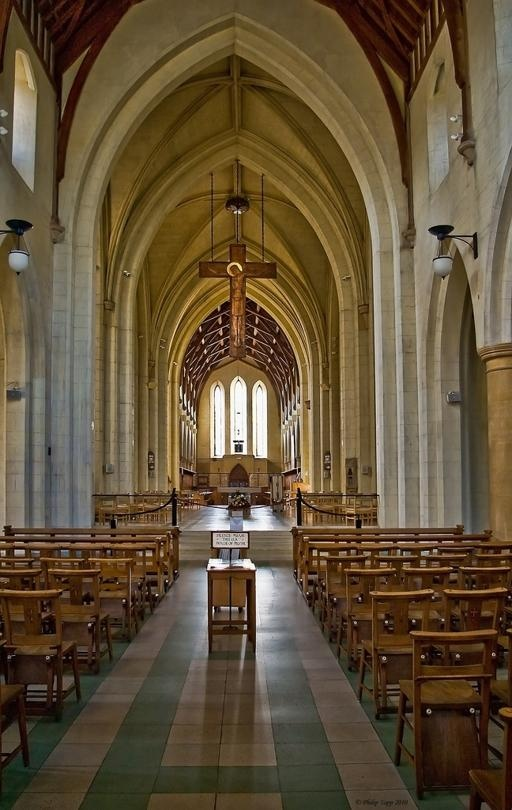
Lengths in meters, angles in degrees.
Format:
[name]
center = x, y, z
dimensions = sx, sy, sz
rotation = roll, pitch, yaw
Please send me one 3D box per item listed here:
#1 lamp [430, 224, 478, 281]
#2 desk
[lamp]
center = 2.937, -2.243, 9.209
dimensions = 0.637, 0.880, 0.376
rotation = 2, -20, 13
[desk]
center = -0.259, 2.068, 6.647
dimensions = 0.480, 1.124, 0.802
rotation = 0, -10, -1
